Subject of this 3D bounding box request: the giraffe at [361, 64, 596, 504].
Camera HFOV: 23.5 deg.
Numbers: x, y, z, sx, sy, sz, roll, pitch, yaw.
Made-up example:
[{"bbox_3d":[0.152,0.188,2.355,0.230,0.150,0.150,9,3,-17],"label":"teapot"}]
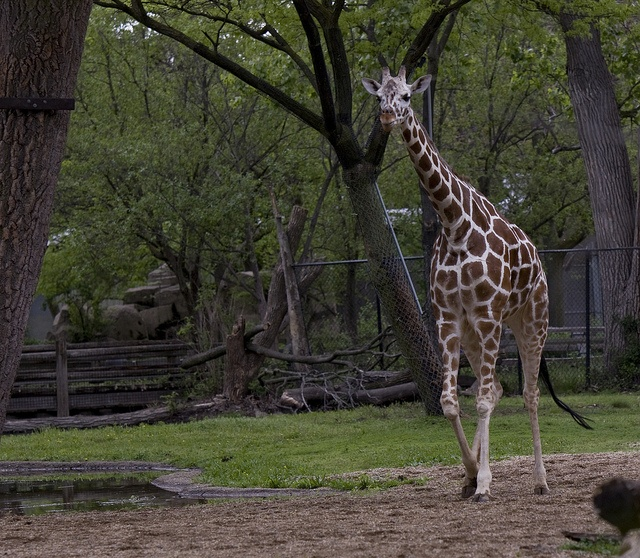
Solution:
[{"bbox_3d":[2.208,0.025,22.841,2.568,6.474,1.236,-1,-6,-17],"label":"giraffe"}]
